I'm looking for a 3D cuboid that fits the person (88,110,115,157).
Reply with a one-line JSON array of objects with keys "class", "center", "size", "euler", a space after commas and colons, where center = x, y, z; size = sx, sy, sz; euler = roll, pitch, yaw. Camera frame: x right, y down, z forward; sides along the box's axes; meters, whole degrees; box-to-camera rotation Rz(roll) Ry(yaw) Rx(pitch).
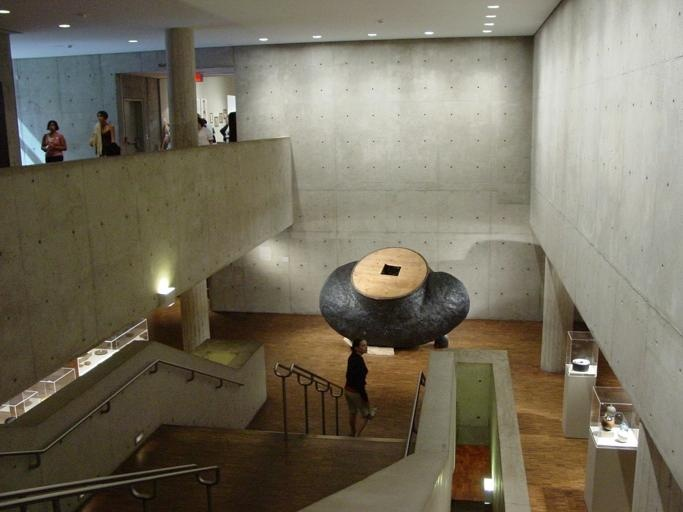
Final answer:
[{"class": "person", "center": [-5.108, -2.621, 11.059], "size": [0.416, 1.045, 0.965], "euler": [2, 3, -28]}]
